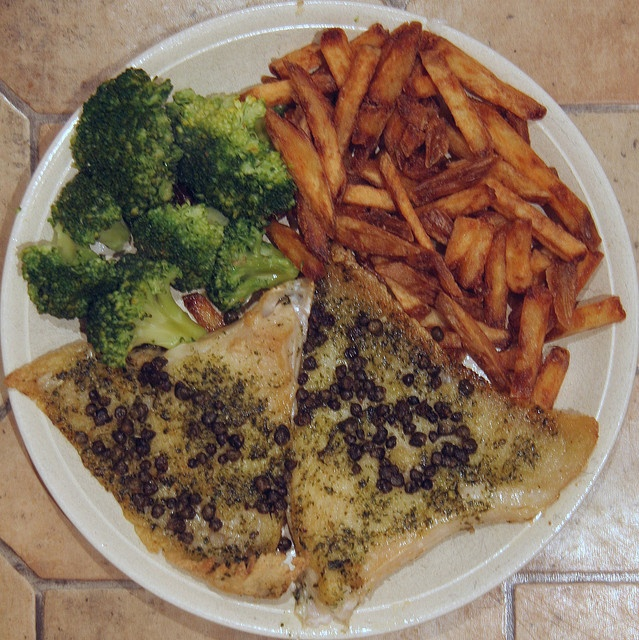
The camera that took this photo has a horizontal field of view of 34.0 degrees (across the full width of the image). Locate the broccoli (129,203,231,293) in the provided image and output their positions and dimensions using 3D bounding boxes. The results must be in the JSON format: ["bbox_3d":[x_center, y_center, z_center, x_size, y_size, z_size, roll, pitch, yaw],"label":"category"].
[{"bbox_3d":[-0.463,-0.276,3.570,0.226,0.068,0.324,28,101,-4],"label":"broccoli"}]

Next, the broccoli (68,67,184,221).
[{"bbox_3d":[-0.651,-0.583,3.521,0.368,0.157,0.440,-15,87,-2],"label":"broccoli"}]

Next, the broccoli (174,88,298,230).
[{"bbox_3d":[-0.308,-0.560,3.535,0.321,0.114,0.445,-26,109,24],"label":"broccoli"}]

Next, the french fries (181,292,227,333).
[{"bbox_3d":[-0.413,-0.029,3.765,0.098,0.040,0.202,-29,92,-35],"label":"french fries"}]

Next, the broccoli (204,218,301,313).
[{"bbox_3d":[-0.242,-0.182,3.677,0.229,0.150,0.360,3,102,-15],"label":"broccoli"}]
